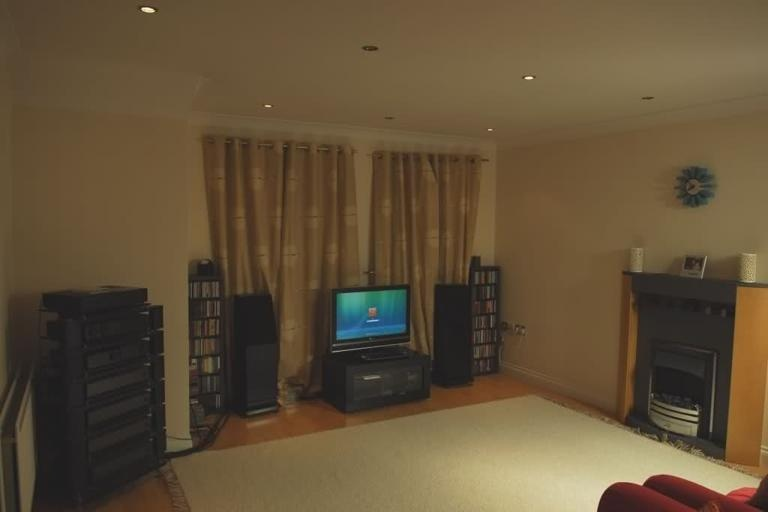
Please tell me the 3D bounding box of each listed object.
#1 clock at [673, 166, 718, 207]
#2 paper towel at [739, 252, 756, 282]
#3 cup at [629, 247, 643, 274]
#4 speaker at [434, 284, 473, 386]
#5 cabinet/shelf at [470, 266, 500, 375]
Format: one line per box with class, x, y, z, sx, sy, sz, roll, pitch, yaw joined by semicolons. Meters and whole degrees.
clock;2.452;-0.550;4.546;0.301;0.321;0.081;9;14;34
paper towel;2.719;0.086;4.297;0.112;0.206;0.104;7;13;28
cup;2.141;0.031;4.885;0.119;0.206;0.090;6;13;24
speaker;0.672;0.779;5.668;0.379;0.986;0.251;1;12;4
cabinet/shelf;1.061;0.675;6.000;0.342;1.108;0.206;-4;13;-20
